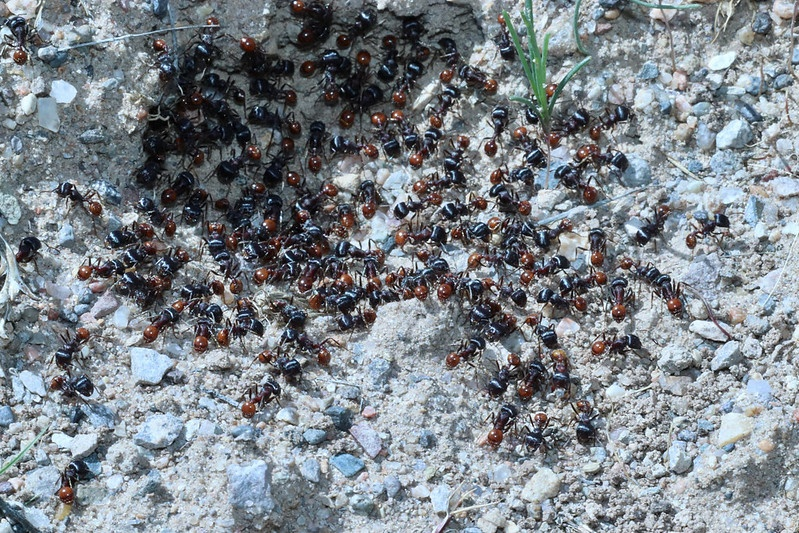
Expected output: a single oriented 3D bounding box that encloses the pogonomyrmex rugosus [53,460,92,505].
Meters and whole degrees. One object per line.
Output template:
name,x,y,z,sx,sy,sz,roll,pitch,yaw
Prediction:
pogonomyrmex rugosus,-3.010,1.987,8.328,0.258,0.150,0.405,11,78,13
